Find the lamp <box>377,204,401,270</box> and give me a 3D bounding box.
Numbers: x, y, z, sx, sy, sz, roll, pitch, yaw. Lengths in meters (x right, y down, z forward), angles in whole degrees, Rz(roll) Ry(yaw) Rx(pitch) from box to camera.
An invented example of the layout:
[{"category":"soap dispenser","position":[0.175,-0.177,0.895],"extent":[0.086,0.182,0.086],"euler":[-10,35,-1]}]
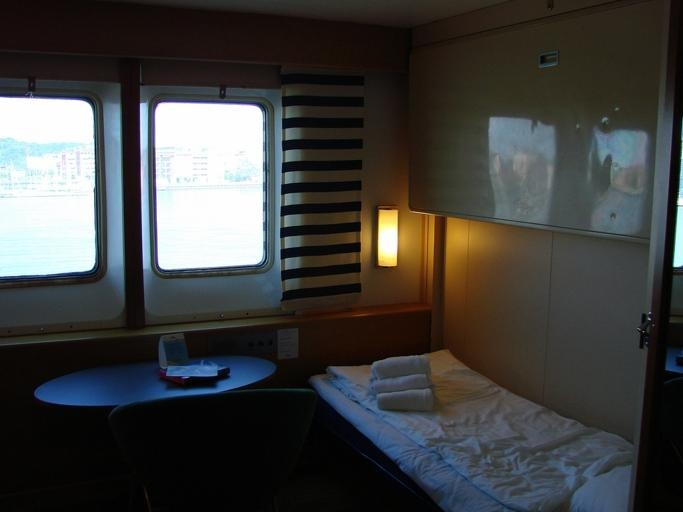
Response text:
[{"category":"lamp","position":[0.409,-0.152,4.692],"extent":[0.249,0.531,0.157],"euler":[3,11,-14]}]
